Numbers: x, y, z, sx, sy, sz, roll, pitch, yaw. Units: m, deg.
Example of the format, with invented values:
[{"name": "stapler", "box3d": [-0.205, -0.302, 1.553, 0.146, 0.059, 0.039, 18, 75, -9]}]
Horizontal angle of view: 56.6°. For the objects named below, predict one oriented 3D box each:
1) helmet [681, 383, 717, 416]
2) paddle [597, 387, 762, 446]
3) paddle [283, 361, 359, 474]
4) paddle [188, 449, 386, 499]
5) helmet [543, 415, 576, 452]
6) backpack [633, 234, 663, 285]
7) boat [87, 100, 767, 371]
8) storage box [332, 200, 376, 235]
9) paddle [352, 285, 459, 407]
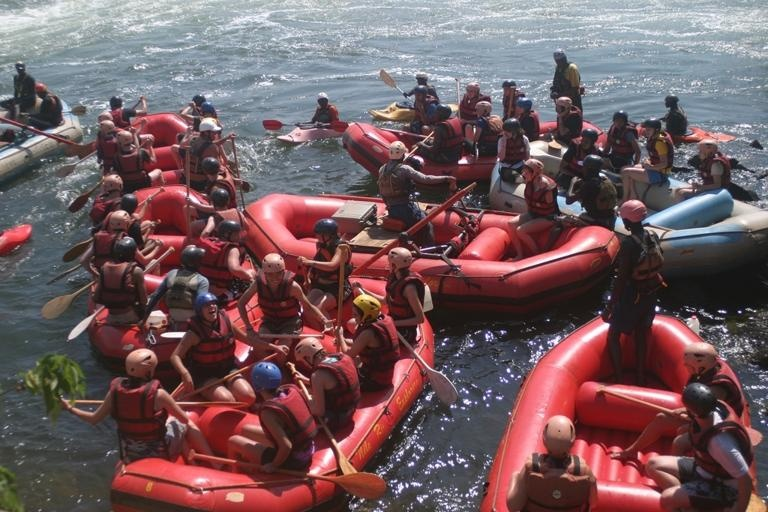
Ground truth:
[{"name": "helmet", "box3d": [3.783, 1.694, 8.450, 0.375, 0.324, 0.270, 0, 27, 25]}, {"name": "paddle", "box3d": [3.739, 2.064, 9.135, 2.144, 0.403, 0.313, 16, 51, 26]}, {"name": "paddle", "box3d": [-0.802, 2.166, 9.343, 0.276, 0.145, 1.786, -26, 62, -19]}, {"name": "paddle", "box3d": [-1.337, 2.807, 9.152, 2.882, 0.143, 0.343, 10, 53, 13]}, {"name": "helmet", "box3d": [2.005, 2.037, 8.135, 0.347, 0.409, 0.388, 3, 83, 9]}, {"name": "backpack", "box3d": [3.915, 0.067, 10.361, 0.291, 0.728, 0.532, 12, 34, 41]}, {"name": "boat", "box3d": [0.872, -0.369, 12.372, 8.813, 1.302, 4.502, 2, 28, 5]}, {"name": "storage box", "box3d": [-0.546, -0.608, 13.337, 0.660, 0.367, 0.842, 6, 25, 19]}, {"name": "paddle", "box3d": [0.278, 1.371, 10.496, 0.329, 0.144, 2.420, -43, 73, -4]}]
